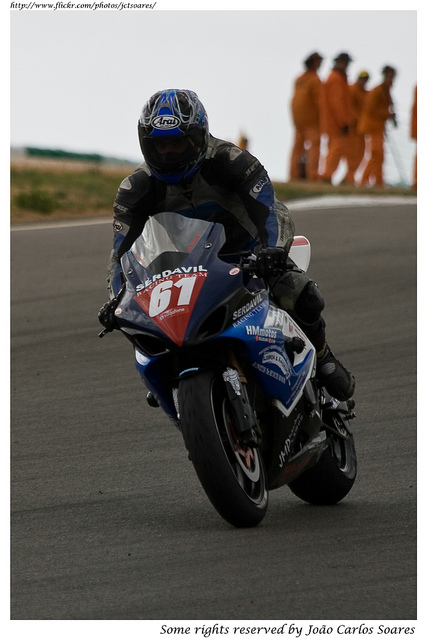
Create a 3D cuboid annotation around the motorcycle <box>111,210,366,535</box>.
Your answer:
[{"bbox_3d":[0.158,0.229,2.842,0.548,1.608,1.553,-5,-6,30],"label":"motorcycle"}]

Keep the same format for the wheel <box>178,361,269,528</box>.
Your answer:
[{"bbox_3d":[0.060,0.520,2.366,0.209,0.685,0.513,-6,-7,35],"label":"wheel"}]

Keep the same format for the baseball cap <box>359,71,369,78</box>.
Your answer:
[{"bbox_3d":[2.067,-3.375,8.070,0.098,0.109,0.123,-3,-39,7],"label":"baseball cap"}]

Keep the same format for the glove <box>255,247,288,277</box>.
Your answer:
[{"bbox_3d":[0.252,-0.256,2.560,0.103,0.069,0.143,-2,-18,2],"label":"glove"}]

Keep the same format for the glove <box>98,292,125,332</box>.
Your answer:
[{"bbox_3d":[-0.475,-0.023,2.738,0.073,0.112,0.207,-24,2,23],"label":"glove"}]
